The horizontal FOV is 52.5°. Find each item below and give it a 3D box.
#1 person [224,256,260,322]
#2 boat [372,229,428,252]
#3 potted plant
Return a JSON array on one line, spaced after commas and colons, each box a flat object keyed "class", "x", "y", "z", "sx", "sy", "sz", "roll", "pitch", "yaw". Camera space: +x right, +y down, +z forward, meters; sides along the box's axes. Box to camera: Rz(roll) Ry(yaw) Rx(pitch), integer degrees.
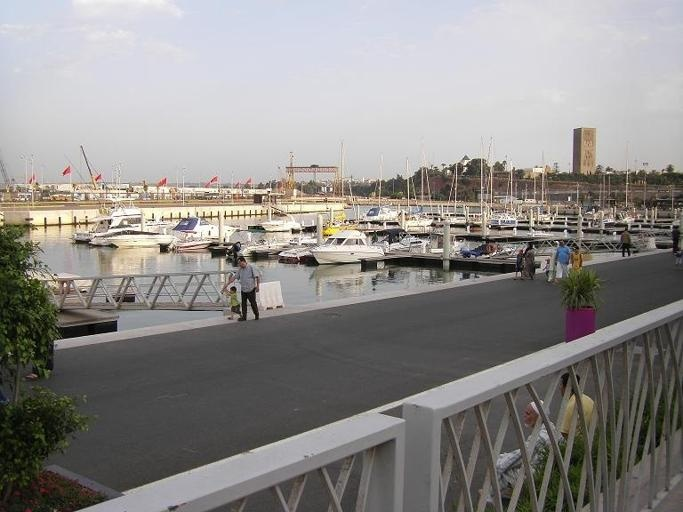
[{"class": "person", "x": -2.457, "y": 0.742, "z": 17.347, "sx": 0.776, "sy": 1.753, "sz": 0.737, "roll": 1, "pitch": 6, "yaw": -21}, {"class": "boat", "x": 4.699, "y": -1.039, "z": 55.541, "sx": 3.739, "sy": 1.355, "sz": 2.036, "roll": 1, "pitch": 8, "yaw": 20}, {"class": "potted plant", "x": 4.779, "y": 0.957, "z": 14.096, "sx": 0.709, "sy": 1.354, "sz": 0.854, "roll": 6, "pitch": 7, "yaw": 43}]
